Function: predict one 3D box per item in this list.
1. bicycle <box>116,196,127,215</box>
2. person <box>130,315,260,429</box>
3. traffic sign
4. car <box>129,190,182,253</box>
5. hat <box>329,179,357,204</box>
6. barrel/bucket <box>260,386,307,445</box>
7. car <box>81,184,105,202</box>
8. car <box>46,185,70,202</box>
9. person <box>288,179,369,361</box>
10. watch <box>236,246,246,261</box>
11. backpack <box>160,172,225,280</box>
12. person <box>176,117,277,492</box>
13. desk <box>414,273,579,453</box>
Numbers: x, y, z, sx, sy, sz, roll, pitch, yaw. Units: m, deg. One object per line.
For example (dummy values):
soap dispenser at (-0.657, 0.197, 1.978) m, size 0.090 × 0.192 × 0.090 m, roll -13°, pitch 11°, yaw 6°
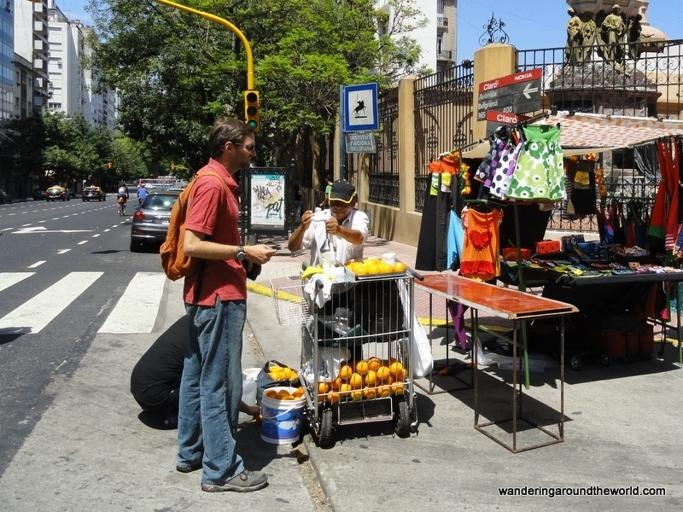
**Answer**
bicycle at (-14.166, -3.171, 40.071) m, size 0.834 × 1.115 × 1.698 m, roll 0°, pitch 3°, yaw -8°
person at (-1.377, 1.164, 6.104) m, size 1.180 × 1.049 × 0.918 m, roll -4°, pitch 7°, yaw -23°
traffic sign at (2.433, -2.347, 9.251) m, size 0.569 × 0.630 × 1.640 m, roll -2°, pitch 10°, yaw -6°
car at (-5.748, -1.022, 19.376) m, size 1.830 × 1.829 × 4.696 m, roll 0°, pitch 2°, yaw -14°
hat at (0.009, -0.589, 5.944) m, size 0.242 × 0.220 × 0.212 m, roll -1°, pitch 9°, yaw -1°
barrel/bucket at (-0.500, 1.453, 5.796) m, size 0.420 × 0.434 × 0.429 m, roll 2°, pitch -5°, yaw 0°
car at (-28.586, -7.227, 73.518) m, size 1.740 × 1.496 × 4.362 m, roll -1°, pitch 11°, yaw -7°
car at (-32.064, -6.983, 71.439) m, size 1.829 × 1.645 × 6.111 m, roll -4°, pitch 10°, yaw -18°
person at (-0.108, -0.008, 5.937) m, size 0.620 × 1.835 × 0.719 m, roll -1°, pitch 8°, yaw 1°
watch at (-0.756, -0.015, 4.763) m, size 0.080 × 0.090 × 0.088 m, roll -1°, pitch 31°, yaw -13°
backpack at (-1.190, -0.169, 4.952) m, size 0.363 × 0.996 × 0.388 m, roll -1°, pitch 9°, yaw -18°
person at (-0.945, 0.395, 4.832) m, size 0.964 × 2.648 × 0.806 m, roll 0°, pitch 1°, yaw -7°
desk at (1.451, 0.751, 5.968) m, size 1.283 × 1.857 × 2.060 m, roll -2°, pitch 6°, yaw -20°
